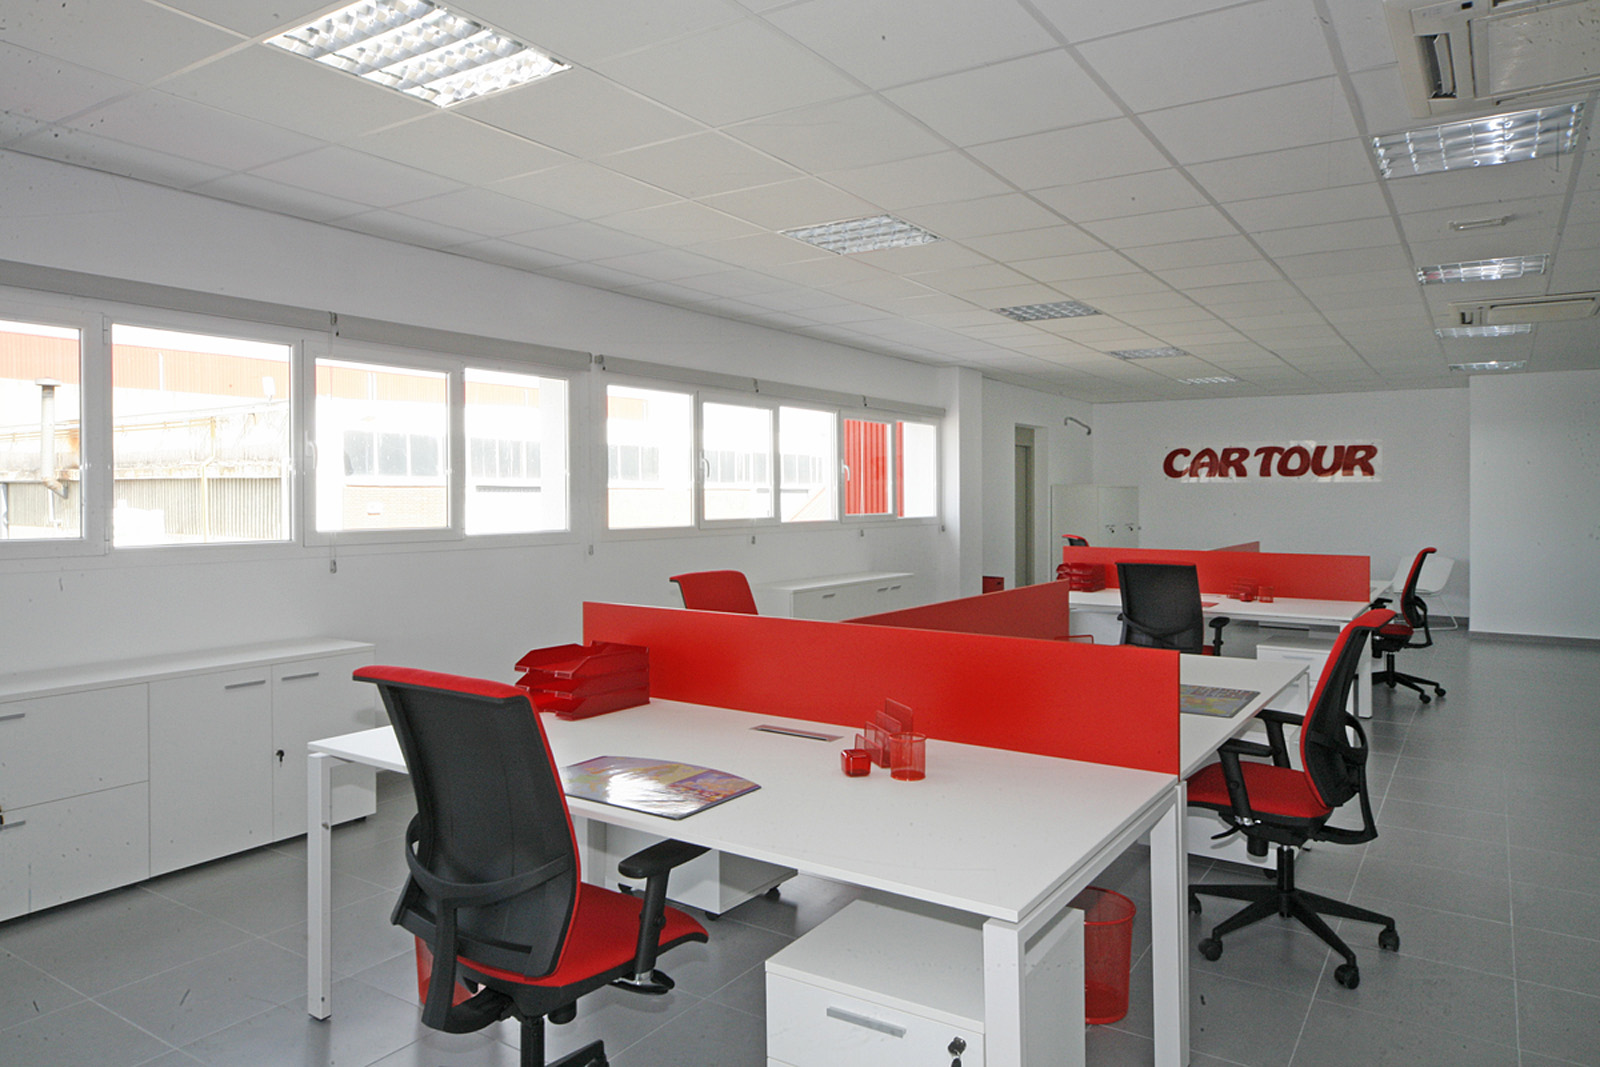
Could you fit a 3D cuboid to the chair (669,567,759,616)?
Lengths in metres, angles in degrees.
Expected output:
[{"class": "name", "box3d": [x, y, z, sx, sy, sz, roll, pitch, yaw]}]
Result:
[{"class": "chair", "box3d": [-0.628, 0.389, 6.917, 0.401, 0.370, 0.384, -3, 1, -33]}]

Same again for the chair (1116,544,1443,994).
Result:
[{"class": "chair", "box3d": [2.602, 1.100, 5.483, 1.543, 2.402, 1.558, 2, 5, 32]}]

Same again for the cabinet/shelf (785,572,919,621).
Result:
[{"class": "cabinet/shelf", "box3d": [0.506, 0.616, 9.854, 0.460, 0.476, 2.069, 6, 11, 30]}]
